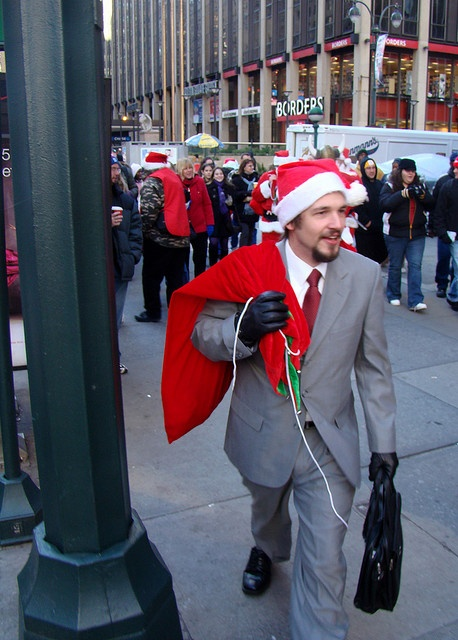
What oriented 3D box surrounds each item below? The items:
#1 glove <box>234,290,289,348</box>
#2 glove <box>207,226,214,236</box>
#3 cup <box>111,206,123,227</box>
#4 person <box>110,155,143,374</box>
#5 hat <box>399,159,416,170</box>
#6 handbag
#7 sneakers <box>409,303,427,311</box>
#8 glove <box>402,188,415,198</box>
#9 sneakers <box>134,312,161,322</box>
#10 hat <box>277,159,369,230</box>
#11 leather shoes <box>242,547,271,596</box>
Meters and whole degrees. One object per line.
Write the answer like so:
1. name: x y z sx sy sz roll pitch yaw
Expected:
1. glove: 0.116 0.002 1.711 0.111 0.091 0.171 -16 -11 -10
2. glove: -0.355 -1.674 9.288 0.130 0.176 0.173 0 12 4
3. cup: -1.087 -1.007 4.797 0.083 0.168 0.367 -4 12 -15
4. person: -1.109 -0.621 5.497 0.328 2.323 1.195 -3 12 -12
5. hat: 2.881 -2.547 8.077 0.260 0.215 0.322 8 14 34
6. handbag: 0.515 0.783 1.702 0.139 0.493 0.239 3 12 19
7. sneakers: 2.990 -0.203 7.888 0.111 0.126 0.277 0 -6 -25
8. glove: 2.824 -2.036 7.876 0.189 0.157 0.104 1 12 10
9. sneakers: -1.203 -0.022 7.341 0.395 0.174 0.145 5 -17 -7
10. hat: 0.344 -0.512 1.926 0.362 0.228 0.270 -2 17 25
11. leather shoes: 0.144 1.212 2.448 0.106 0.129 0.306 1 8 16
